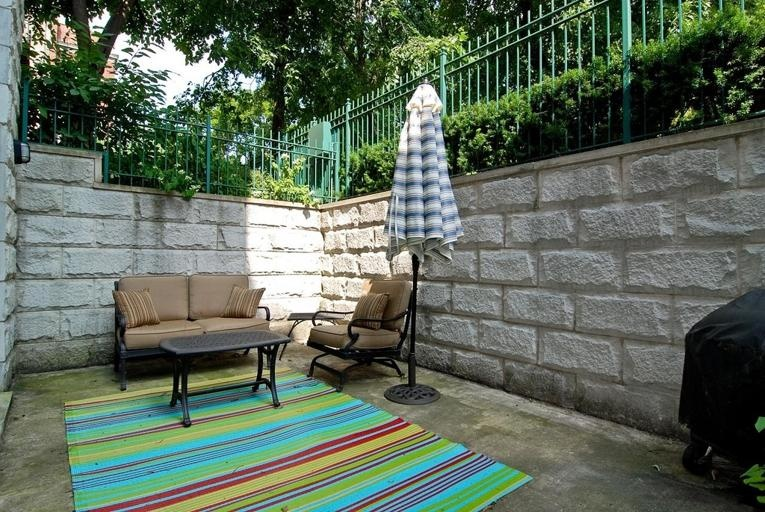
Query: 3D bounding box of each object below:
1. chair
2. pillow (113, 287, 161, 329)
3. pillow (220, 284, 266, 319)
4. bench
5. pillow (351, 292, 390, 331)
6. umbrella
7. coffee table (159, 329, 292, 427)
[{"bbox_3d":[-0.320,0.894,6.532,1.077,1.087,1.091,-3,4,-30],"label":"chair"},{"bbox_3d":[-3.141,0.667,6.442,0.488,0.449,0.549,-4,3,-31],"label":"pillow"},{"bbox_3d":[-1.875,0.661,7.175,0.609,0.513,0.118,-6,-3,19],"label":"pillow"},{"bbox_3d":[-2.551,0.900,6.835,1.942,1.167,0.867,0,10,-37],"label":"bench"},{"bbox_3d":[-0.227,0.667,6.428,0.517,0.374,0.196,14,21,-31],"label":"pillow"},{"bbox_3d":[0.431,-0.957,5.684,0.870,2.074,0.469,-3,4,2],"label":"umbrella"},{"bbox_3d":[-1.699,1.282,5.502,1.336,0.722,0.727,1,3,-36],"label":"coffee table"}]
